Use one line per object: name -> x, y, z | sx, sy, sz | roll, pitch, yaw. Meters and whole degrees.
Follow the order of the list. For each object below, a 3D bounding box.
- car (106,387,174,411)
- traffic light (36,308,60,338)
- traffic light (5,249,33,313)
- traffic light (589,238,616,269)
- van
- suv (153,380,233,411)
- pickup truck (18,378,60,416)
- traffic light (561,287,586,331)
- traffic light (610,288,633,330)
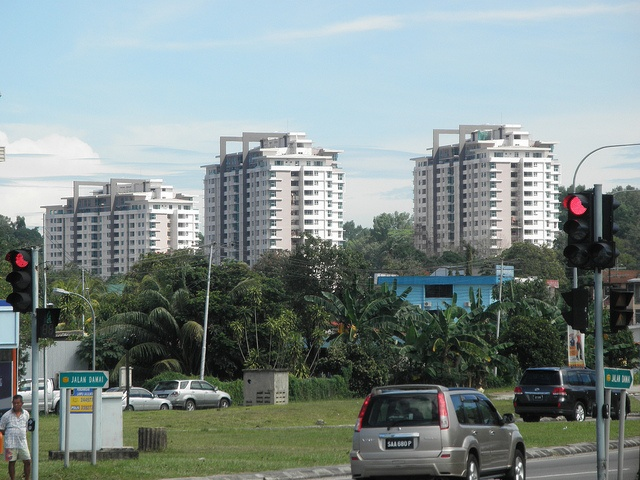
car -> -10.125, 9.112, 93.018 | 2.674, 1.258, 0.825 | 1, -6, -35
traffic light -> -11.073, 3.267, 64.736 | 0.909, 1.363, 1.134 | -2, 0, -37
traffic light -> -12.157, 1.594, 64.704 | 0.971, 2.477, 0.458 | -1, -5, -11
traffic light -> 11.251, 0.367, 63.549 | 0.914, 1.309, 1.285 | -1, 15, 13
van -> 13.141, 7.858, 81.915 | 3.168, 2.739, 7.059 | -2, -5, 41
suv -> -7.650, 9.197, 96.151 | 2.492, 1.982, 5.213 | -3, -4, 37
pickup truck -> -14.998, 8.747, 91.476 | 4.406, 2.128, 2.054 | 4, -6, -12
traffic light -> 10.261, 2.755, 63.887 | 0.994, 1.775, 0.717 | -3, -5, 10
traffic light -> 12.026, 2.768, 63.720 | 0.881, 1.676, 0.718 | -3, -5, 9
